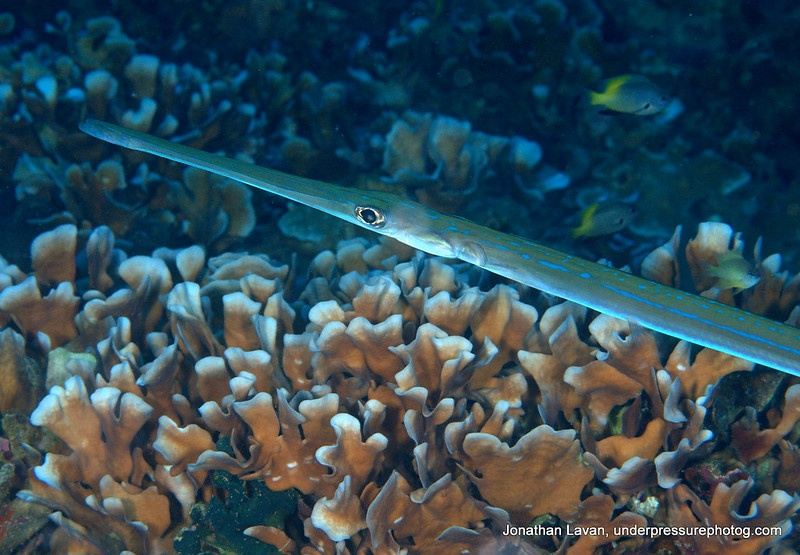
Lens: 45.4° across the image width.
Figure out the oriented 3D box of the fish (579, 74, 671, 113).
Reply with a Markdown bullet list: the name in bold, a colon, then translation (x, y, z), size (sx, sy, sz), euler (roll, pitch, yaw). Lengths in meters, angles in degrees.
- **fish**: translation (1.965, -1.564, 8.233), size (0.680, 0.348, 0.152), euler (-2, 22, 17)

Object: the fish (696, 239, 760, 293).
- **fish**: translation (2.600, -0.043, 7.486), size (0.485, 0.369, 0.315), euler (8, 22, 16)
